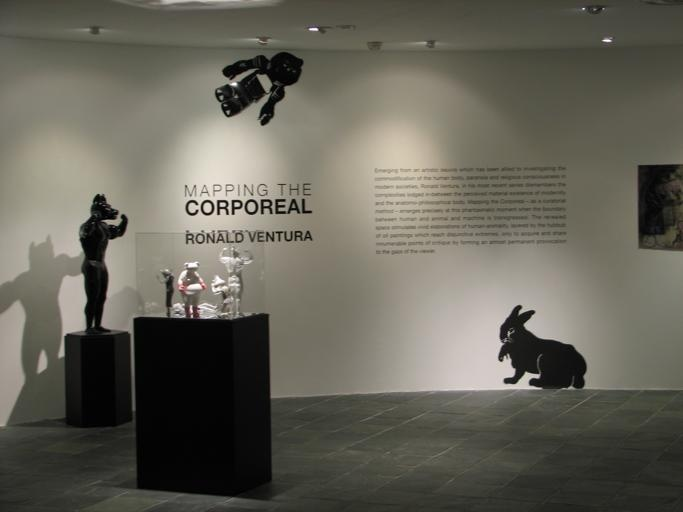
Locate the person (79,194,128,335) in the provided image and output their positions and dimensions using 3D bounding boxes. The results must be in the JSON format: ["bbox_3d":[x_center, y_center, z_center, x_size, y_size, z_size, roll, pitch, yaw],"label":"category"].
[{"bbox_3d":[-2.930,0.077,7.591,0.518,1.653,0.270,0,1,-22],"label":"person"}]
